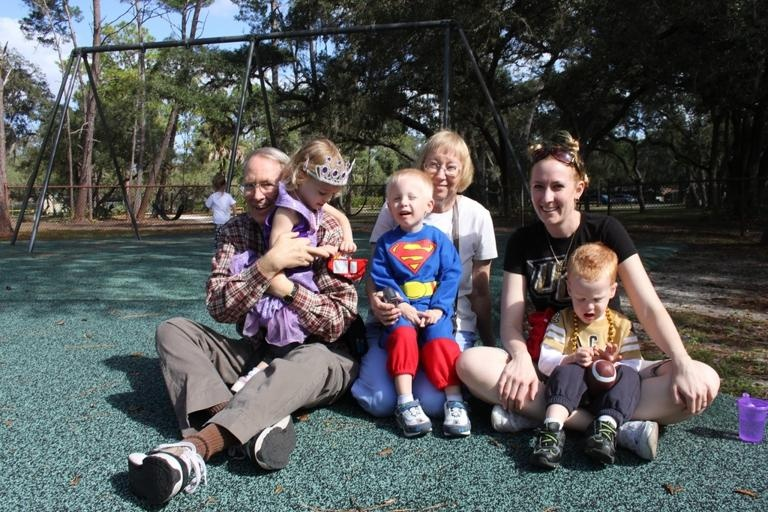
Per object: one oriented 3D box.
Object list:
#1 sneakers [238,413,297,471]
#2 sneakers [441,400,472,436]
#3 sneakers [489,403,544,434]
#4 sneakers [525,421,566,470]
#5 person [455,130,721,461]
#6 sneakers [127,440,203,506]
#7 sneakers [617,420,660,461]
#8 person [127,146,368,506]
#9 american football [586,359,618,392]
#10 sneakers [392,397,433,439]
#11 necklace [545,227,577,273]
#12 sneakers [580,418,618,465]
[{"bbox_3d":[-0.635,0.998,2.664,0.272,0.093,0.164,6,13,41],"label":"sneakers"},{"bbox_3d":[0.423,0.931,2.943,0.172,0.185,0.157,-1,11,-8],"label":"sneakers"},{"bbox_3d":[0.753,0.940,2.993,0.203,0.089,0.151,5,-2,-2],"label":"sneakers"},{"bbox_3d":[0.864,0.979,2.696,0.165,0.213,0.238,5,12,20],"label":"sneakers"},{"bbox_3d":[1.164,0.173,2.921,1.114,1.627,1.255,-9,8,-33],"label":"person"},{"bbox_3d":[-1.083,1.053,2.514,0.360,0.220,0.180,-10,11,46],"label":"sneakers"},{"bbox_3d":[1.374,0.966,2.687,0.107,0.153,0.233,6,-4,-34],"label":"sneakers"},{"bbox_3d":[-0.751,0.212,2.930,1.498,1.727,1.027,-9,14,-41],"label":"person"},{"bbox_3d":[1.225,0.676,2.850,0.142,0.197,0.190,11,7,37],"label":"american football"},{"bbox_3d":[0.166,0.928,2.979,0.165,0.176,0.318,-9,9,-23],"label":"sneakers"},{"bbox_3d":[1.101,-0.032,3.169,0.134,0.254,0.088,5,-4,12],"label":"necklace"},{"bbox_3d":[1.139,0.961,2.681,0.141,0.182,0.148,5,12,22],"label":"sneakers"}]
